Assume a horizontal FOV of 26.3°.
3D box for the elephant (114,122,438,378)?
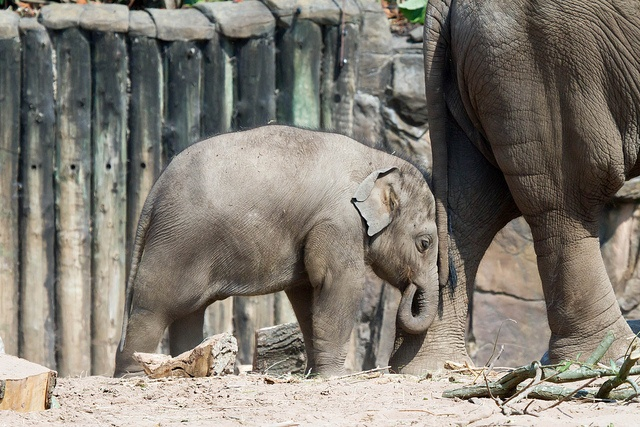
[{"bbox_3d":[-0.231,0.278,8.476,2.080,1.593,0.829,0,5,-14],"label":"elephant"}]
